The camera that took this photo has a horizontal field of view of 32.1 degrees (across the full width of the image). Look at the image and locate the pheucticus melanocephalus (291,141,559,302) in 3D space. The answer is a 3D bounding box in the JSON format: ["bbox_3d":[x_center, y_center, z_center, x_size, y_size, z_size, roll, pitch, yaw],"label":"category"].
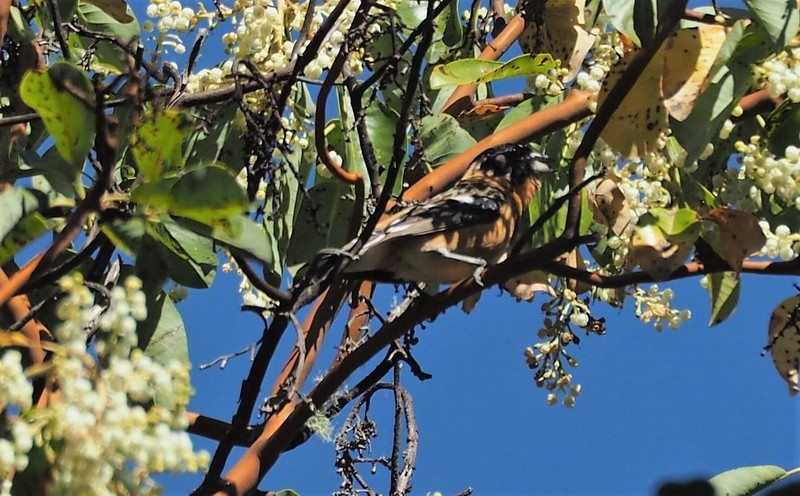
[{"bbox_3d":[0.104,-0.083,4.743,0.911,0.563,0.317,-4,-30,-11],"label":"pheucticus melanocephalus"}]
